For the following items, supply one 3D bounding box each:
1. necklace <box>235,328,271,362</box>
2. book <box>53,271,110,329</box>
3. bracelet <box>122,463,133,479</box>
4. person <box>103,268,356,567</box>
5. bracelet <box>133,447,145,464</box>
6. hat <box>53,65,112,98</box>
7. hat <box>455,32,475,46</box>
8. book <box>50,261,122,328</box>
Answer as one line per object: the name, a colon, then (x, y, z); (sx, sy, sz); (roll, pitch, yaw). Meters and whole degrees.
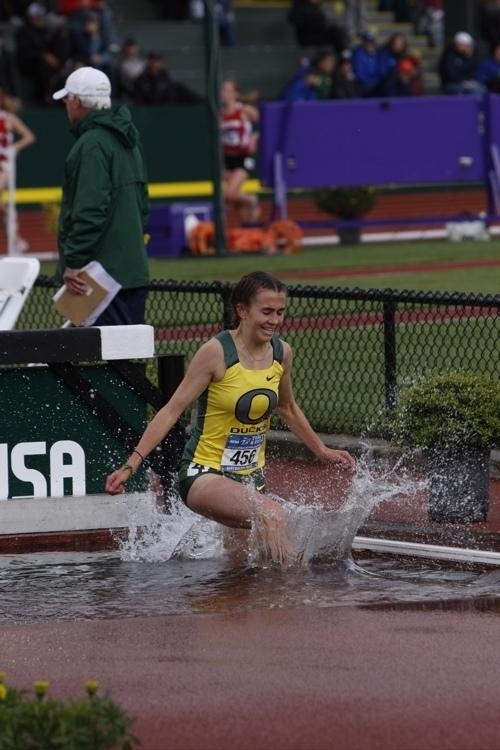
necklace: (0.004, -0.106, 4.932); (0.105, 0.140, 0.139); (-6, -30, -14)
book: (-0.820, -0.365, 6.446); (0.260, 0.265, 0.079); (45, 8, 11)
bracelet: (-0.448, 0.342, 4.759); (0.019, 0.043, 0.036); (-19, -15, 40)
person: (-0.080, 0.136, 5.057); (0.643, 1.106, 0.714); (3, 17, 9)
bracelet: (-0.415, 0.295, 4.863); (0.015, 0.058, 0.054); (-27, -12, -13)
hat: (-0.847, -1.446, 6.477); (0.221, 0.126, 0.169); (6, 16, 21)
hat: (2.667, -4.226, 16.546); (0.238, 0.103, 0.340); (6, 11, 0)
book: (-0.788, -0.378, 6.404); (0.314, 0.320, 0.118); (29, -8, 31)
